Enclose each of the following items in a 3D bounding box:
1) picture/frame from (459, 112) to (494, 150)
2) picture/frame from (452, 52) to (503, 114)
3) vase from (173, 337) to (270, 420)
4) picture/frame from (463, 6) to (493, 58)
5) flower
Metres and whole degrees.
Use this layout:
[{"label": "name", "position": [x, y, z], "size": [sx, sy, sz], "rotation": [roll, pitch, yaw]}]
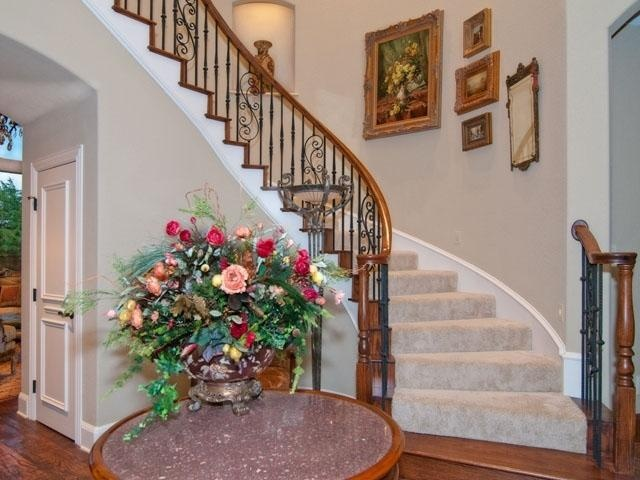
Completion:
[{"label": "picture/frame", "position": [1.585, -1.102, 5.074], "size": [0.042, 0.402, 0.391], "rotation": [1, -3, -32]}, {"label": "picture/frame", "position": [1.596, -1.574, 5.054], "size": [0.084, 0.645, 0.637], "rotation": [3, -7, -25]}, {"label": "vase", "position": [-0.455, 0.622, 2.468], "size": [0.414, 0.369, 0.433], "rotation": [1, 3, 27]}, {"label": "picture/frame", "position": [1.580, -2.095, 5.104], "size": [0.135, 0.447, 0.384], "rotation": [-7, 16, -26]}, {"label": "flower", "position": [-0.467, 0.320, 2.531], "size": [1.040, 1.066, 0.967], "rotation": [20, 30, 28]}]
